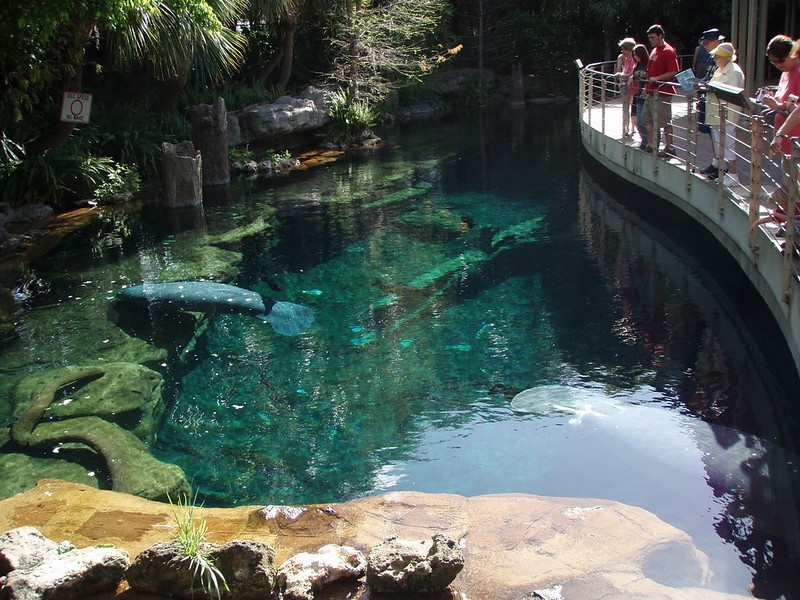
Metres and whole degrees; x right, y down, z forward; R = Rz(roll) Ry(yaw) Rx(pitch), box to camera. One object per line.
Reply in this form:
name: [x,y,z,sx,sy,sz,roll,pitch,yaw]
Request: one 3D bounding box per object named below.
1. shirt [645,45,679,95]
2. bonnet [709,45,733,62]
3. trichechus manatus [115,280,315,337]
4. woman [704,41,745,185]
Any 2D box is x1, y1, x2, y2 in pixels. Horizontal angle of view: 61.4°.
shirt: [4.171,-3.712,10.801,0.448,0.737,0.738,-10,23,-10]
bonnet: [4.193,-3.219,8.728,0.263,0.209,0.333,3,17,23]
trichechus manatus: [-2.405,0.021,9.087,2.712,0.451,0.960,4,29,13]
woman: [4.282,-2.507,9.017,0.554,1.707,0.594,-1,20,8]
